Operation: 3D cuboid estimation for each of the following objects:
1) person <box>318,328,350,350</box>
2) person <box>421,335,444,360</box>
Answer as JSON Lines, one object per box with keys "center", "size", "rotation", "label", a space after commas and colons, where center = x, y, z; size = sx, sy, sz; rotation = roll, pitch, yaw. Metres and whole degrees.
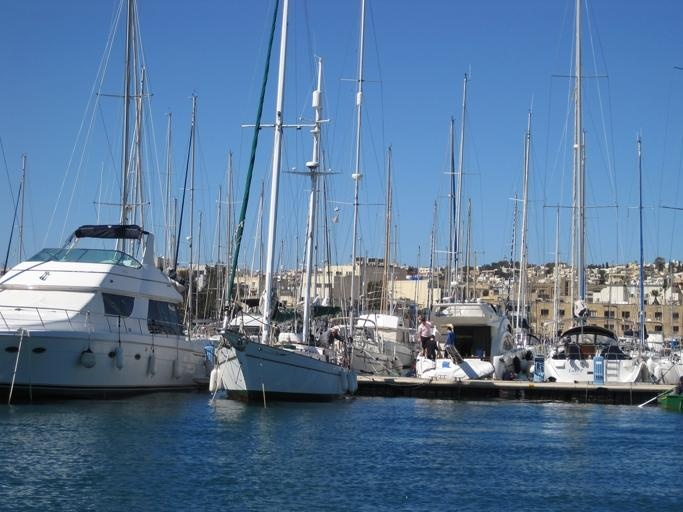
{"center": [-0.163, 3.016, 31.553], "size": [0.869, 0.394, 0.681], "rotation": [-8, 21, -7], "label": "person"}
{"center": [3.383, 3.376, 32.886], "size": [0.622, 0.869, 1.458], "rotation": [2, 4, 4], "label": "person"}
